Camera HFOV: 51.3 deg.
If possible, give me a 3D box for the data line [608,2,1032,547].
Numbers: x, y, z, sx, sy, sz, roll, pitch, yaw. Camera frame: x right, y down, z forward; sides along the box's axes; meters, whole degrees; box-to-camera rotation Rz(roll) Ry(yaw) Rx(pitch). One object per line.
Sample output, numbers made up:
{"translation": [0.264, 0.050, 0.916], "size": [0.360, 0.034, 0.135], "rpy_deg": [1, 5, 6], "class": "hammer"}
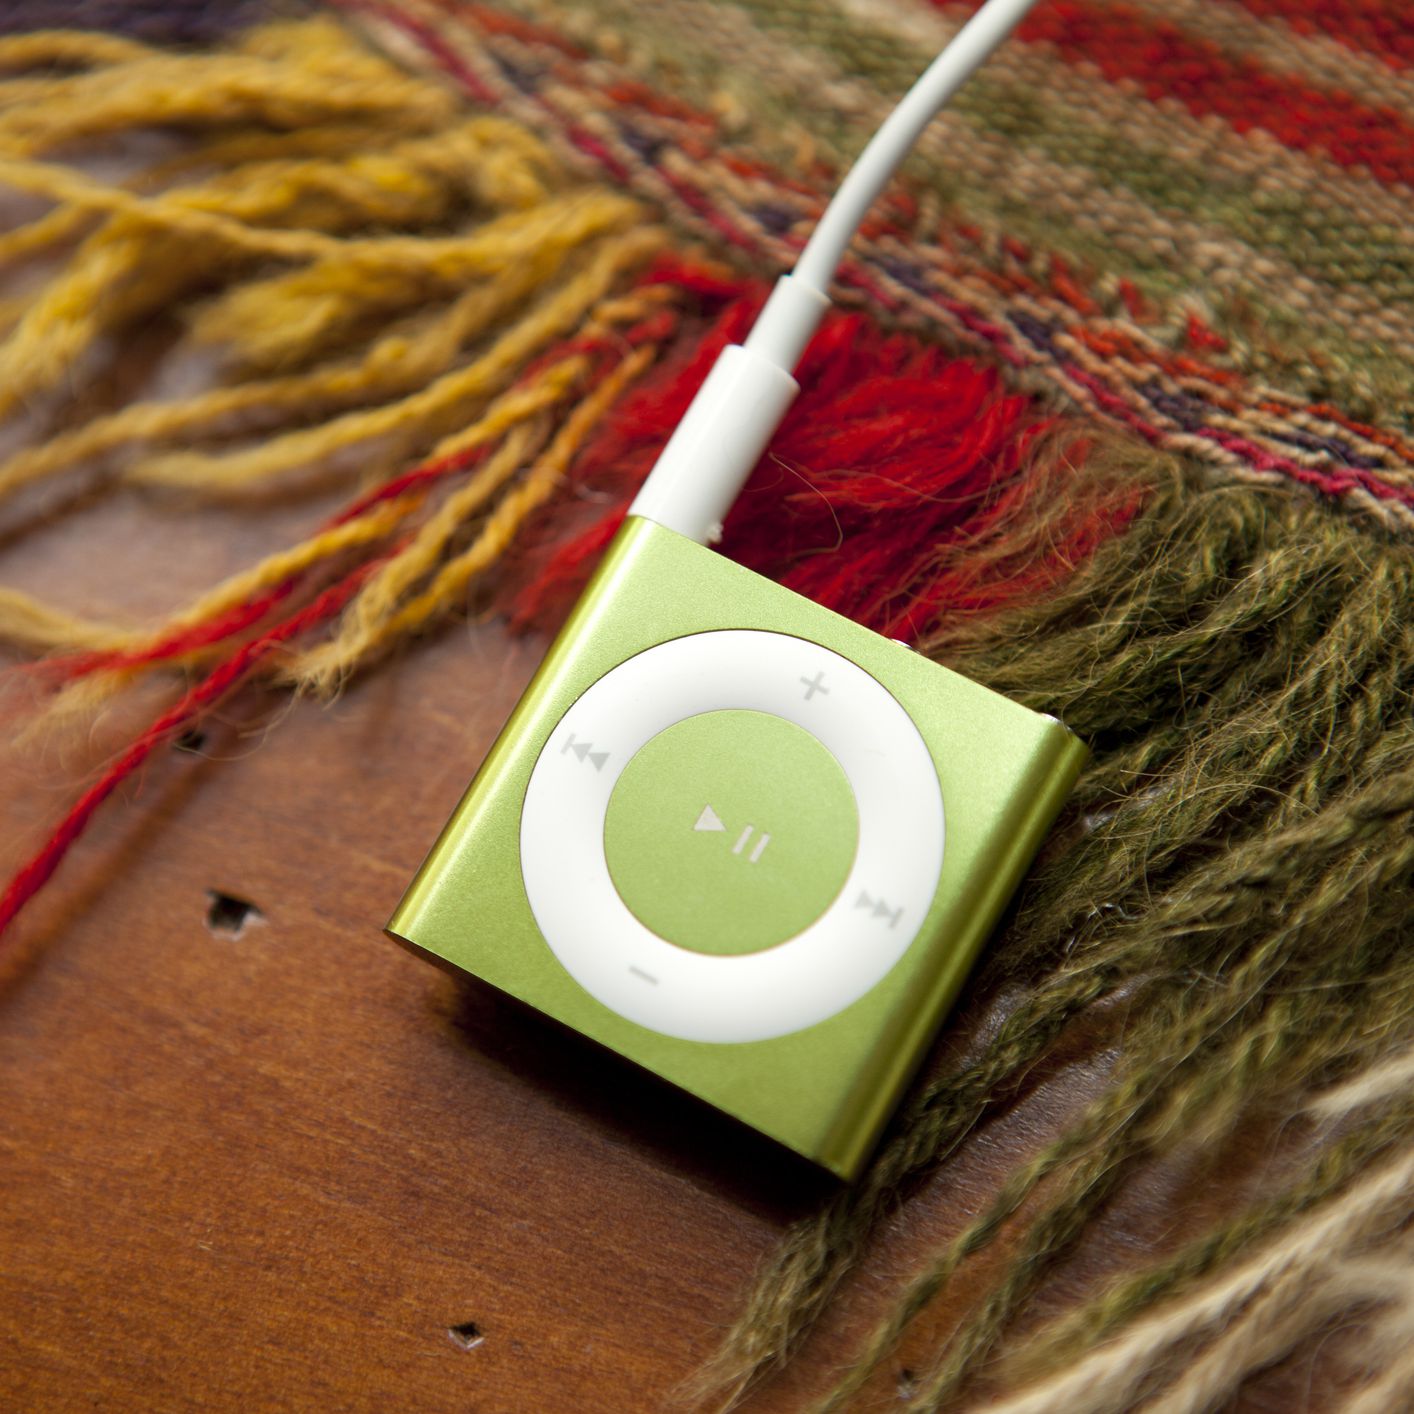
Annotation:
{"translation": [0.051, -0.200, 0.714], "size": [0.053, 0.040, 0.334], "rpy_deg": [38, 89, -8], "class": "data line"}
